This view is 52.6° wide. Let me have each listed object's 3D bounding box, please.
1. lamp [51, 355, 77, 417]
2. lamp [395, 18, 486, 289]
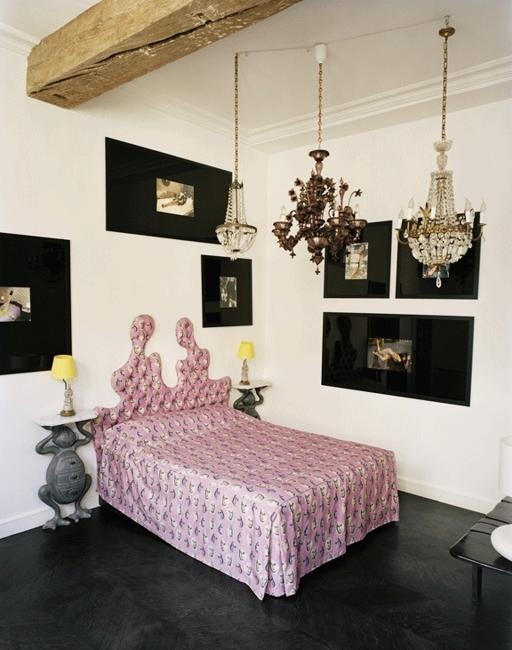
[{"bbox_3d":[-1.557,0.495,4.223,0.179,0.491,0.363,0,3,-21],"label":"lamp"},{"bbox_3d":[1.507,-1.184,4.102,0.721,1.776,2.087,2,3,16],"label":"lamp"}]
